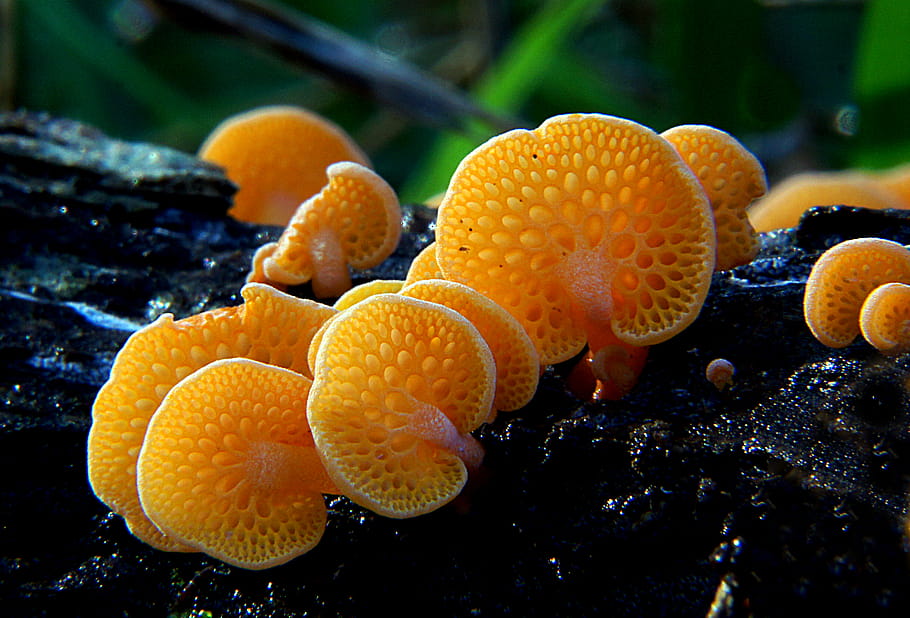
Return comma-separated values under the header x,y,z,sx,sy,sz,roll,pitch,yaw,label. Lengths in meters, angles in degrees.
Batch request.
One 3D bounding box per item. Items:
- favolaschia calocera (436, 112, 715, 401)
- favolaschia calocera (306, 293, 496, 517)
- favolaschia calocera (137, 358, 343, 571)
x,y,z,sx,sy,sz,roll,pitch,yaw,label
0.354,-0.149,2.713,0.731,0.286,0.738,-3,98,8,favolaschia calocera
-0.175,0.253,2.807,0.536,0.416,0.601,-3,93,-9,favolaschia calocera
-0.661,0.476,2.765,0.540,0.409,0.605,-16,116,-30,favolaschia calocera
